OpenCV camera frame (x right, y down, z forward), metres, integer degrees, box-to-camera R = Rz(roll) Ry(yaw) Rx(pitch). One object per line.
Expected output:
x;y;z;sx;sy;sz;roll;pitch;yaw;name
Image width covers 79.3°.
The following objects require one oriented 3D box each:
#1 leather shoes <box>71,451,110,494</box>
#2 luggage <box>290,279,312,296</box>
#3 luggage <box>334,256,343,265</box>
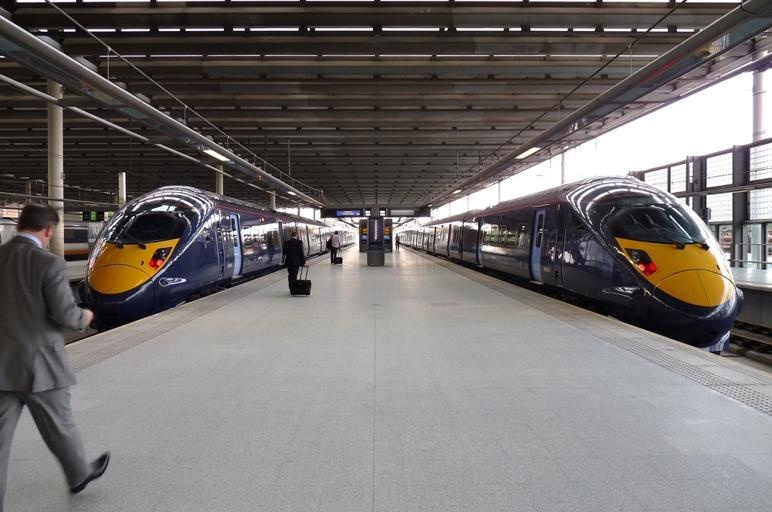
-2.612;1.870;4.105;0.166;0.170;0.417;24;26;1;leather shoes
-2.035;0.767;11.294;0.648;0.326;0.395;0;-6;1;luggage
-2.255;0.192;22.203;0.474;0.459;0.283;2;27;3;luggage
